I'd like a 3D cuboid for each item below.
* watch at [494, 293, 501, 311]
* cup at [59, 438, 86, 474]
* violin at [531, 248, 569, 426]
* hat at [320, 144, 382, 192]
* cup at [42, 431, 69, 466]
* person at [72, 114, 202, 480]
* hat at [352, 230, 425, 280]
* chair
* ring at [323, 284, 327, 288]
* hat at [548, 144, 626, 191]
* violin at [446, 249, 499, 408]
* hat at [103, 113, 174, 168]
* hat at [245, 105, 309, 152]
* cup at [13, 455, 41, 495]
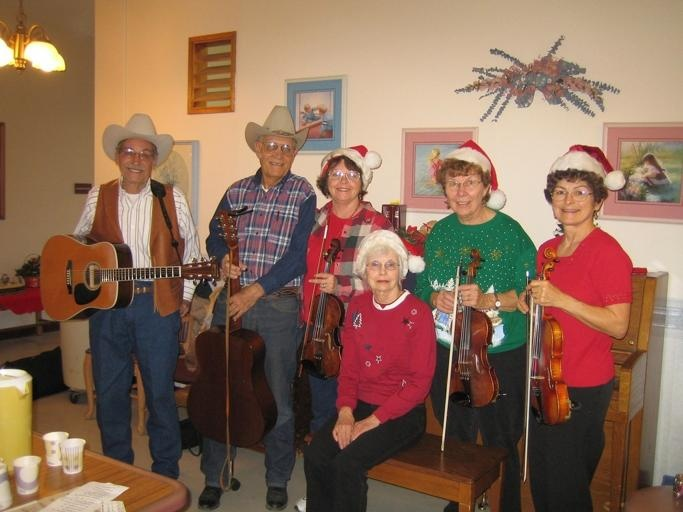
[{"bbox_3d":[0.882,0.271,3.348,0.042,0.073,0.066,-2,1,7],"label":"watch"},{"bbox_3d":[-1.230,0.918,2.658,0.107,0.125,0.120,-21,-24,23],"label":"cup"},{"bbox_3d":[1.074,0.561,3.012,0.211,0.611,0.095,6,7,45],"label":"violin"},{"bbox_3d":[0.081,-0.643,3.980,0.313,0.224,0.414,16,15,5],"label":"hat"},{"bbox_3d":[-1.317,0.897,2.705,0.107,0.123,0.118,-6,-7,40],"label":"cup"},{"bbox_3d":[-1.372,0.370,3.877,0.930,2.572,0.774,-1,14,-19],"label":"person"},{"bbox_3d":[0.285,-0.027,3.436,0.341,0.290,0.178,9,22,-5],"label":"hat"},{"bbox_3d":[-2.044,1.183,5.272,0.565,0.639,0.489,4,-13,-14],"label":"chair"},{"bbox_3d":[-0.111,0.183,3.622,0.026,0.026,0.007,1,1,10],"label":"ring"},{"bbox_3d":[1.362,-0.486,3.239,0.412,0.232,0.300,26,15,34],"label":"hat"},{"bbox_3d":[0.760,0.570,3.347,0.269,0.566,0.154,3,5,20],"label":"violin"},{"bbox_3d":[-1.396,-0.870,4.013,0.420,0.203,0.487,-5,18,-25],"label":"hat"},{"bbox_3d":[-0.443,-0.965,4.194,0.445,0.234,0.534,3,16,-10],"label":"hat"},{"bbox_3d":[-1.321,0.919,2.514,0.140,0.163,0.142,2,-3,0],"label":"cup"}]
